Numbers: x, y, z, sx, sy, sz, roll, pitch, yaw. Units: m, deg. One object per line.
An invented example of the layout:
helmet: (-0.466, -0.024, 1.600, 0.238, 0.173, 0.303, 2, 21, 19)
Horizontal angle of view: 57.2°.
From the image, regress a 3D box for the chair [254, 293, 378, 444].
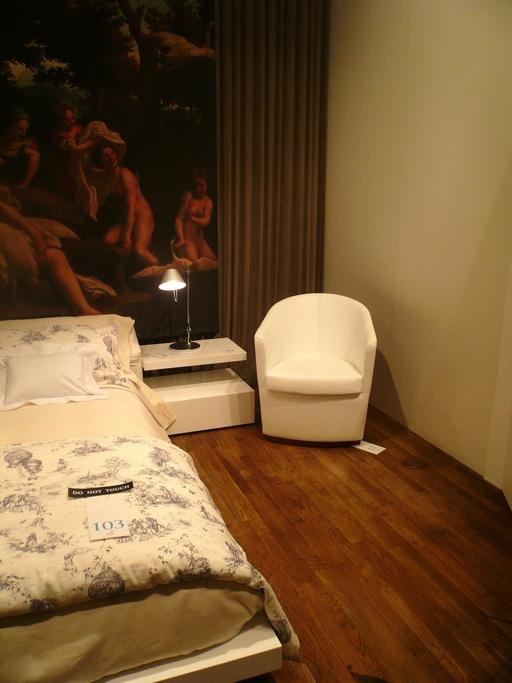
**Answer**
chair: (0.362, 0.160, 2.973, 0.689, 0.826, 0.745, 0, 13, 4)

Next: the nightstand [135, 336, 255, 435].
nightstand: (-0.374, 0.262, 3.231, 0.646, 0.437, 0.631, -9, 21, -19)
